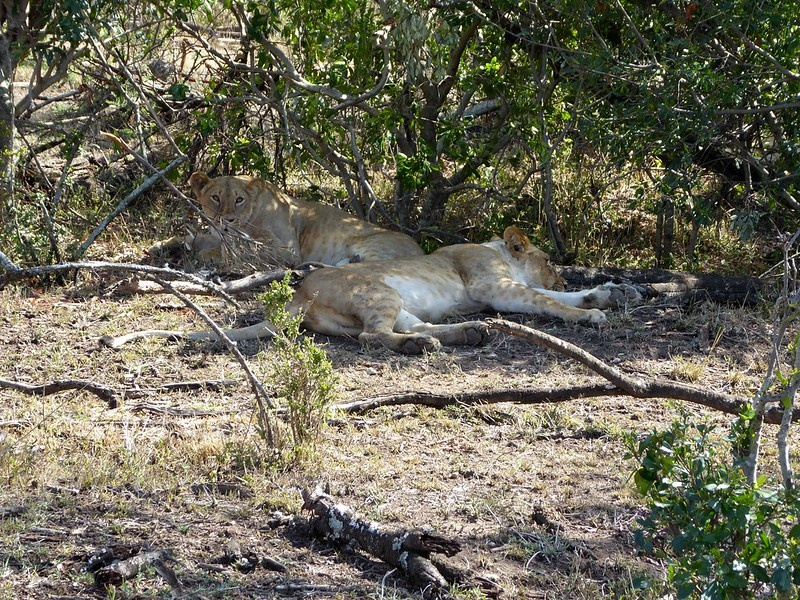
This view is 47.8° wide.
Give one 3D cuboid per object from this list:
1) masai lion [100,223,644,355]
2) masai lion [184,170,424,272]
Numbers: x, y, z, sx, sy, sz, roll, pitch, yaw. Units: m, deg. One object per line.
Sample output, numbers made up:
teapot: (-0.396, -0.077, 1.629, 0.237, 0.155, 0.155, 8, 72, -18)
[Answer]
masai lion: (0.208, -0.144, 7.704, 3.703, 1.104, 1.316, 1, 1, -23)
masai lion: (-0.944, -0.878, 9.161, 2.364, 0.962, 1.042, 15, -6, 1)
